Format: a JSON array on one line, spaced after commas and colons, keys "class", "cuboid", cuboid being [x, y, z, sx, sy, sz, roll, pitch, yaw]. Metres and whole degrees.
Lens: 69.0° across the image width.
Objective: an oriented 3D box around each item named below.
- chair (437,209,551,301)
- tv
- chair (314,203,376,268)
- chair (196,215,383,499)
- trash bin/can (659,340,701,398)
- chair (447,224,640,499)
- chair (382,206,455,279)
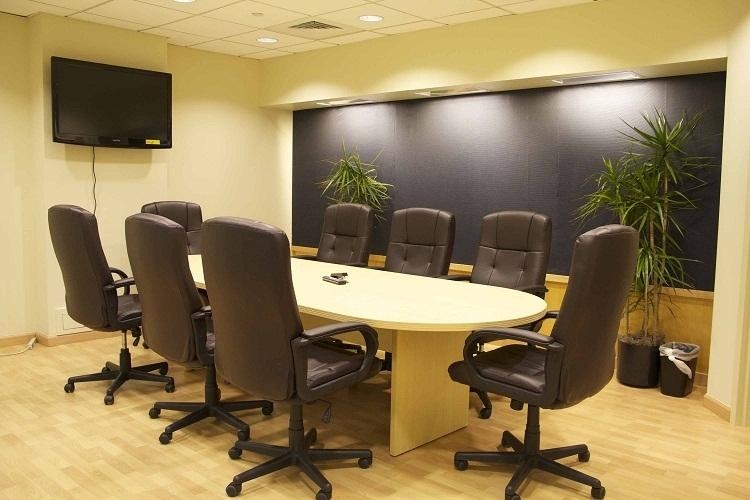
[{"class": "chair", "cuboid": [1.412, 0.055, 5.374, 0.840, 1.080, 0.955, 5, -2, 41]}, {"class": "tv", "cuboid": [-2.957, -1.620, 6.164, 0.148, 0.912, 1.399, 15, 16, 35]}, {"class": "chair", "cuboid": [-0.184, -0.164, 6.313, 0.663, 0.833, 0.755, 6, 2, 31]}, {"class": "chair", "cuboid": [-0.532, 0.673, 3.428, 0.983, 1.763, 0.642, -3, 15, -16]}, {"class": "trash bin/can", "cuboid": [2.738, 1.082, 4.962, 0.322, 0.431, 0.315, 6, 14, 19]}, {"class": "chair", "cuboid": [1.060, 0.697, 3.481, 0.943, 1.746, 0.690, 7, 15, 22]}, {"class": "chair", "cuboid": [0.533, -0.091, 5.769, 0.692, 0.897, 0.776, 6, 1, 30]}]
